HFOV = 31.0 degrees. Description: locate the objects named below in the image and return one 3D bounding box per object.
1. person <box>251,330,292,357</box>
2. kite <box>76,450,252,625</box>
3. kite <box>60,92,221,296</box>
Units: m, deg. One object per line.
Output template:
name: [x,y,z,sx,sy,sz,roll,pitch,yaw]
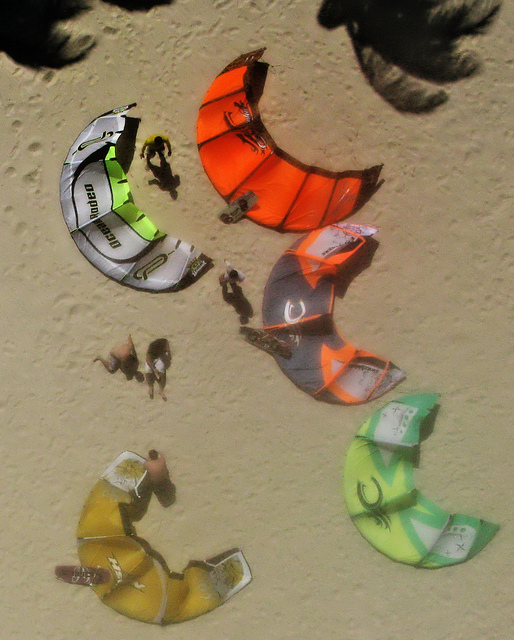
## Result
person: [0.234,0.371,14.427,0.790,0.246,0.217,25,89,17]
kite: [-1.729,3.488,13.996,1.848,0.447,2.557,-39,82,-3]
kite: [-2.116,-1.484,14.319,1.724,0.139,3.213,-49,51,5]
